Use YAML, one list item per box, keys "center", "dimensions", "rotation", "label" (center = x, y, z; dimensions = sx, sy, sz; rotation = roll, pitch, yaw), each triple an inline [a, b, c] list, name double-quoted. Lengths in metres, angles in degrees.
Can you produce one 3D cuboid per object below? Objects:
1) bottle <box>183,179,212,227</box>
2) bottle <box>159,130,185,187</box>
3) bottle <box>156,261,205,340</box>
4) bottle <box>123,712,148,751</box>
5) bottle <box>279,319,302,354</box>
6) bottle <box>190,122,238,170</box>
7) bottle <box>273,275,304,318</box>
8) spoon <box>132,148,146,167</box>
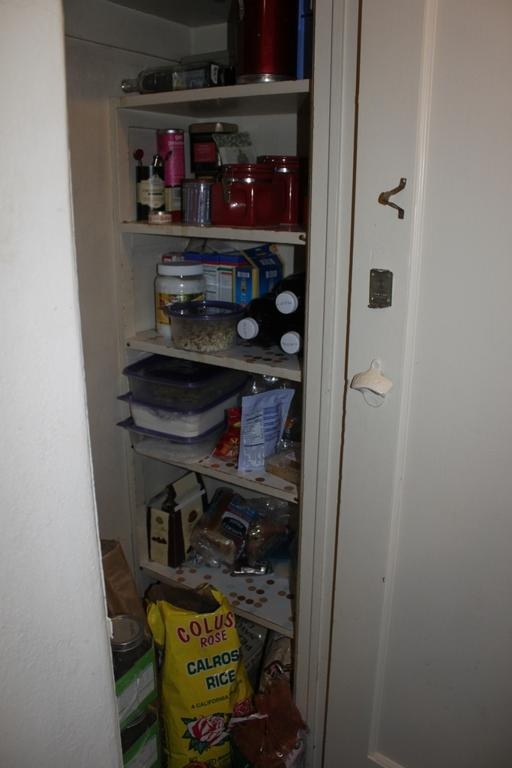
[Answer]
- center: [-0.125, -0.388, 1.252]
  dimensions: [0.060, 0.096, 0.102]
  rotation: [-3, 15, -11]
  label: "bottle"
- center: [-0.192, -0.505, 1.317]
  dimensions: [0.057, 0.121, 0.035]
  rotation: [-2, 14, -6]
  label: "bottle"
- center: [-0.179, -0.202, 1.396]
  dimensions: [0.114, 0.180, 0.141]
  rotation: [-4, 15, -14]
  label: "bottle"
- center: [-0.237, 0.671, 1.142]
  dimensions: [0.017, 0.041, 0.074]
  rotation: [8, 17, 29]
  label: "bottle"
- center: [0.071, -0.096, 1.176]
  dimensions: [0.051, 0.052, 0.073]
  rotation: [10, 20, 2]
  label: "bottle"
- center: [-0.116, -0.531, 1.331]
  dimensions: [0.072, 0.101, 0.148]
  rotation: [-12, 19, -40]
  label: "bottle"
- center: [0.071, -0.187, 1.208]
  dimensions: [0.032, 0.070, 0.091]
  rotation: [-12, 10, -30]
  label: "bottle"
- center: [-0.270, -0.522, 1.345]
  dimensions: [0.011, 0.035, 0.024]
  rotation: [10, 22, 31]
  label: "spoon"
